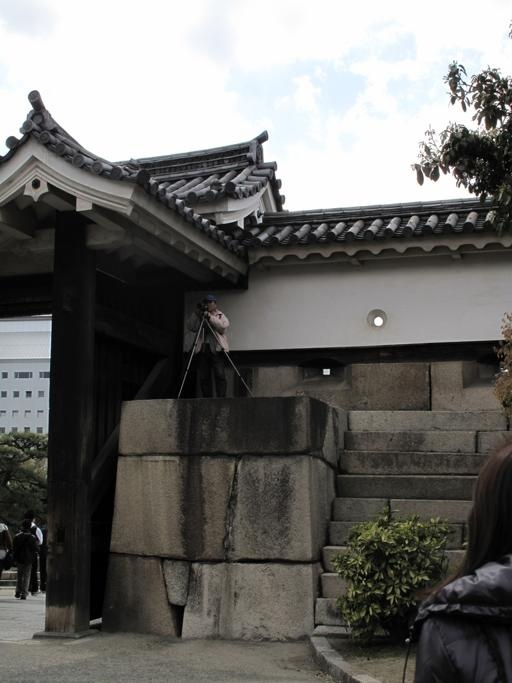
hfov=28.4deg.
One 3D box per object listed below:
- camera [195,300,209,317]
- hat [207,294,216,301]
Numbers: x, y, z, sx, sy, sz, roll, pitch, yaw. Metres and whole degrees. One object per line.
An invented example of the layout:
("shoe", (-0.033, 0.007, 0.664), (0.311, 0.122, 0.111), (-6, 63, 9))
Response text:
("camera", (-0.599, -0.362, 11.154), (0.094, 0.210, 0.270), (5, -9, -23))
("hat", (-0.497, -0.493, 11.172), (0.089, 0.042, 0.126), (0, -7, 1))
